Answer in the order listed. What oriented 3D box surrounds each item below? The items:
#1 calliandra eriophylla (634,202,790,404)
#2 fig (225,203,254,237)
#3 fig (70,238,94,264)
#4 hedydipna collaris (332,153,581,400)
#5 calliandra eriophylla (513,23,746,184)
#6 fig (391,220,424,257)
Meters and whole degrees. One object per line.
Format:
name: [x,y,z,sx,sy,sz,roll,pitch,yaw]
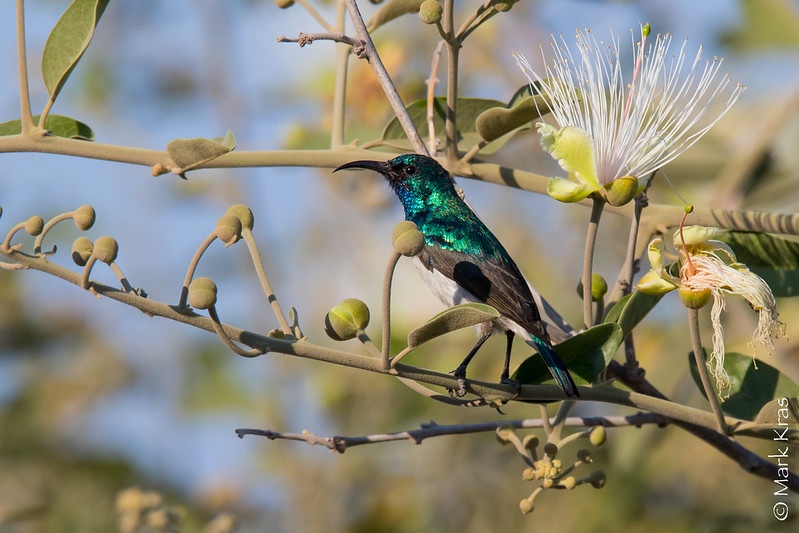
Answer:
calliandra eriophylla: [1.691,0.200,6.341,0.642,1.122,0.484,-5,7,16]
fig: [-0.838,-0.247,6.242,0.140,0.170,0.088,-15,-11,-23]
fig: [-1.538,-0.068,5.791,0.100,0.143,0.175,11,-16,-20]
hedydipna collaris: [0.404,0.056,7.767,1.162,1.627,0.523,-7,-1,41]
calliandra eriophylla: [1.299,-0.825,6.611,1.072,0.906,1.258,12,-2,34]
fig: [0.044,-0.134,5.839,0.156,0.166,0.167,-1,2,20]
